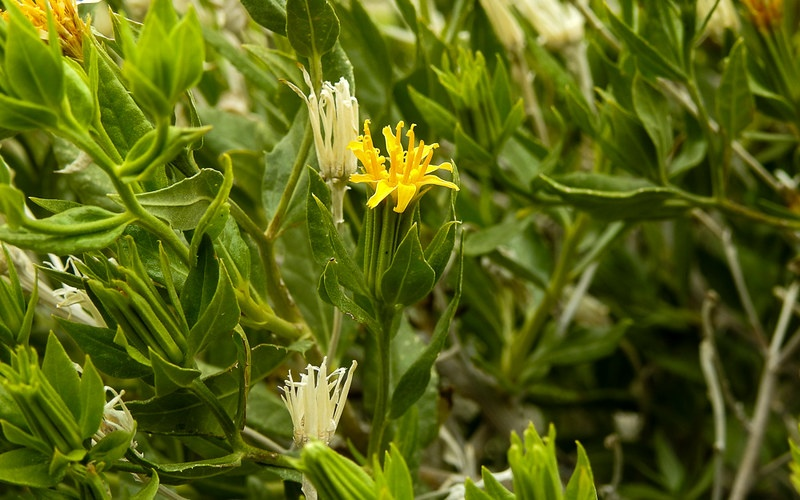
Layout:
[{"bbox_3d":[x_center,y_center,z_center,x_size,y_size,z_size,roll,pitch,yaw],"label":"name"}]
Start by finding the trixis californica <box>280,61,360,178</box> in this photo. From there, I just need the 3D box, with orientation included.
[{"bbox_3d":[-0.067,-0.104,0.718,0.046,0.035,0.100,-1,78,-6],"label":"trixis californica"}]

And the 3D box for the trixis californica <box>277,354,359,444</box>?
[{"bbox_3d":[-0.066,0.129,0.686,0.054,0.060,0.077,1,71,-18],"label":"trixis californica"}]
